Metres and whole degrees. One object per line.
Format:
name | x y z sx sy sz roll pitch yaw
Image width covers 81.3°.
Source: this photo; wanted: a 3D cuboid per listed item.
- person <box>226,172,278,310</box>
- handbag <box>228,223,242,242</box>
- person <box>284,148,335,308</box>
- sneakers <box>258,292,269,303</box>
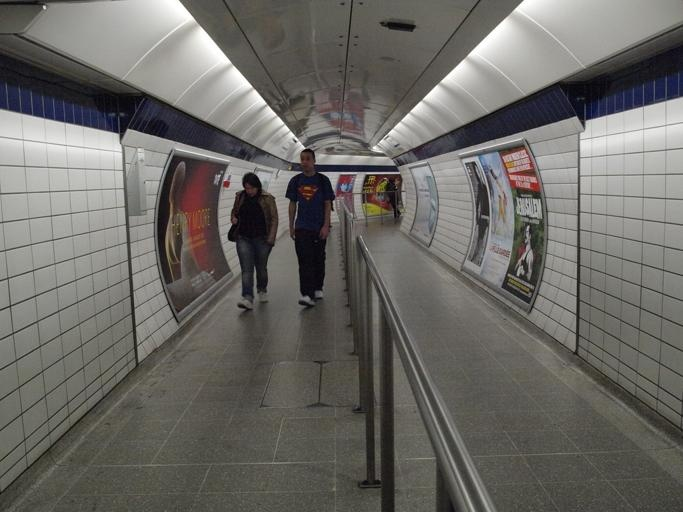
person | -1.552 -0.256 6.832 0.791 1.928 0.876 2 -1 -18
handbag | -1.840 -0.422 6.725 0.162 0.257 0.299 2 0 -17
person | -0.575 -0.479 7.055 0.844 1.966 1.036 3 -1 -27
sneakers | -1.434 0.741 7.203 0.207 0.239 0.111 0 5 -26
